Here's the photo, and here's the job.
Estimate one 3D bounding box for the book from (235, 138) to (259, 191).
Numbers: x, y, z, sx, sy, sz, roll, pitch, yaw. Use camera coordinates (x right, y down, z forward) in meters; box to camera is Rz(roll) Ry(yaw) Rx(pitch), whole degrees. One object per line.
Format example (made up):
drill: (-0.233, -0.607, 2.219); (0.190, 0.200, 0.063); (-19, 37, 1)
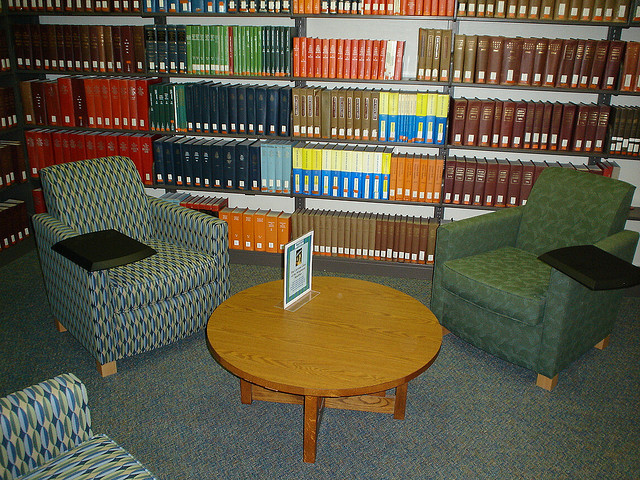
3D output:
book: (-0.758, -0.653, 4.737); (0.266, 0.407, 0.455); (-2, 4, -25)

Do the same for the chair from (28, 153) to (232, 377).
chair: (-1.371, 0.100, 3.681); (1.162, 1.082, 1.212); (-9, 27, -26)

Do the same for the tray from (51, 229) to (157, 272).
tray: (-1.379, 0.046, 3.228); (0.576, 0.057, 0.435); (21, 30, 40)

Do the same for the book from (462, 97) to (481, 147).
book: (1.234, -0.969, 4.167); (0.156, 0.404, 0.406); (2, -2, 13)

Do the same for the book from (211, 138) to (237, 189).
book: (-0.852, -0.668, 4.549); (0.202, 0.324, 0.312); (12, -28, -20)

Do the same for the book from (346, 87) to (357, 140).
book: (0.251, -1.049, 4.289); (0.067, 0.399, 0.045); (2, 22, 8)

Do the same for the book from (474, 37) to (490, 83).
book: (1.277, -1.424, 4.037); (0.096, 0.338, 0.052); (4, 22, 14)

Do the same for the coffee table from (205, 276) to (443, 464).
coffee table: (0.030, 0.522, 2.824); (1.076, 0.415, 1.017); (3, 23, 5)
